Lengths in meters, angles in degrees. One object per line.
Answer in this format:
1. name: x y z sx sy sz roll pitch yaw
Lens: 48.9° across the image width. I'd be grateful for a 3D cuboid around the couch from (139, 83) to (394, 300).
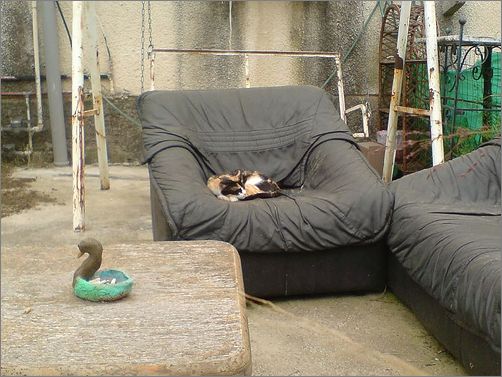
1. couch: 0.039 -0.033 3.515 1.407 1.226 1.407 -3 10 -12
